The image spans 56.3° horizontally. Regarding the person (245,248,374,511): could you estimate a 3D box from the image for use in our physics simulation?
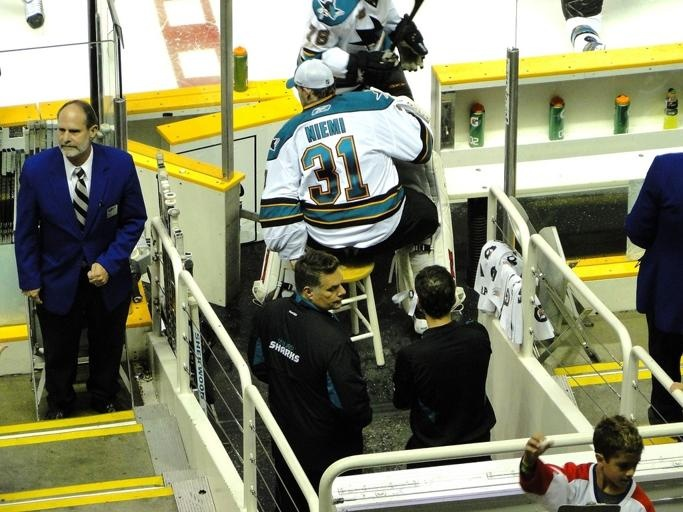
[{"bbox_3d":[-0.153,0.595,3.225,0.715,1.218,0.311,6,12,37],"label":"person"}]

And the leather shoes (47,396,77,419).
[{"bbox_3d":[-1.920,1.044,4.408,0.117,0.190,0.189,6,-5,-18],"label":"leather shoes"}]

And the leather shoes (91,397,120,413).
[{"bbox_3d":[-1.635,1.033,4.493,0.231,0.079,0.160,1,-12,-14],"label":"leather shoes"}]

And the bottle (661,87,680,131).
[{"bbox_3d":[3.262,-1.451,6.278,0.248,0.391,0.124,-9,13,-38],"label":"bottle"}]

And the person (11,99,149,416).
[{"bbox_3d":[-1.663,0.194,4.174,0.787,1.837,0.462,-5,10,-18],"label":"person"}]

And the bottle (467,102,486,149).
[{"bbox_3d":[1.296,-1.253,6.083,0.141,0.426,0.148,-2,10,0],"label":"bottle"}]

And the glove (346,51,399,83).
[{"bbox_3d":[0.227,-1.472,4.926,0.320,0.136,0.235,-20,31,-25],"label":"glove"}]

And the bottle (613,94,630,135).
[{"bbox_3d":[2.721,-1.368,6.186,0.126,0.353,0.186,2,11,22],"label":"bottle"}]

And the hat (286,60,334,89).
[{"bbox_3d":[-0.229,-1.278,4.565,0.198,0.155,0.269,-24,38,-37],"label":"hat"}]

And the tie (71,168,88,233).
[{"bbox_3d":[-1.616,-0.360,3.940,0.088,0.365,0.056,-5,10,-20],"label":"tie"}]

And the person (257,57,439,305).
[{"bbox_3d":[0.001,-0.772,4.804,1.361,1.402,0.933,-17,31,-8],"label":"person"}]

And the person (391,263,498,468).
[{"bbox_3d":[0.520,0.550,3.186,0.529,0.962,0.313,-1,10,1],"label":"person"}]

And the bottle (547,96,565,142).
[{"bbox_3d":[2.084,-1.337,6.179,0.150,0.433,0.182,1,10,17],"label":"bottle"}]
